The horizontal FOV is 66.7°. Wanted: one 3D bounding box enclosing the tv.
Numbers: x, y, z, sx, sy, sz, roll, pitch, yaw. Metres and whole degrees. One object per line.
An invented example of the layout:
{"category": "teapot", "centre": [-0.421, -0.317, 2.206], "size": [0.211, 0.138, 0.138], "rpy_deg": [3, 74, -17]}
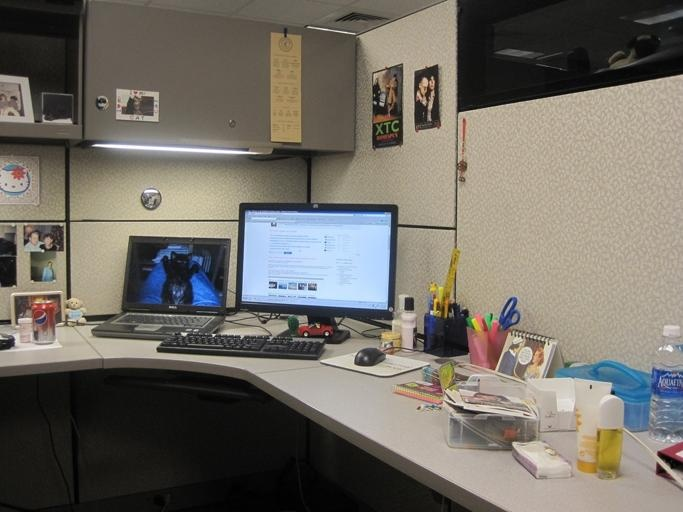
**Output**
{"category": "tv", "centre": [-0.080, 0.048, 1.798], "size": [0.463, 0.370, 0.140], "rpy_deg": [1, -2, 16]}

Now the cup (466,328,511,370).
{"category": "cup", "centre": [0.420, 0.265, 1.473], "size": [0.106, 0.084, 0.097], "rpy_deg": [0, -5, 20]}

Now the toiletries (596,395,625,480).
{"category": "toiletries", "centre": [0.476, 0.322, 0.922], "size": [0.038, 0.147, 0.028], "rpy_deg": [2, 10, 15]}

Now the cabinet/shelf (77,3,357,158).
{"category": "cabinet/shelf", "centre": [-0.403, -0.628, 1.880], "size": [0.971, 0.485, 0.166], "rpy_deg": [-6, 11, -27]}

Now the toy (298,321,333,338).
{"category": "toy", "centre": [-0.084, 0.256, 1.801], "size": [0.090, 0.030, 0.053], "rpy_deg": [3, 5, -2]}

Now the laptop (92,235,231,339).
{"category": "laptop", "centre": [-0.638, 0.100, 1.946], "size": [0.405, 0.306, 0.359], "rpy_deg": [2, 8, 4]}
